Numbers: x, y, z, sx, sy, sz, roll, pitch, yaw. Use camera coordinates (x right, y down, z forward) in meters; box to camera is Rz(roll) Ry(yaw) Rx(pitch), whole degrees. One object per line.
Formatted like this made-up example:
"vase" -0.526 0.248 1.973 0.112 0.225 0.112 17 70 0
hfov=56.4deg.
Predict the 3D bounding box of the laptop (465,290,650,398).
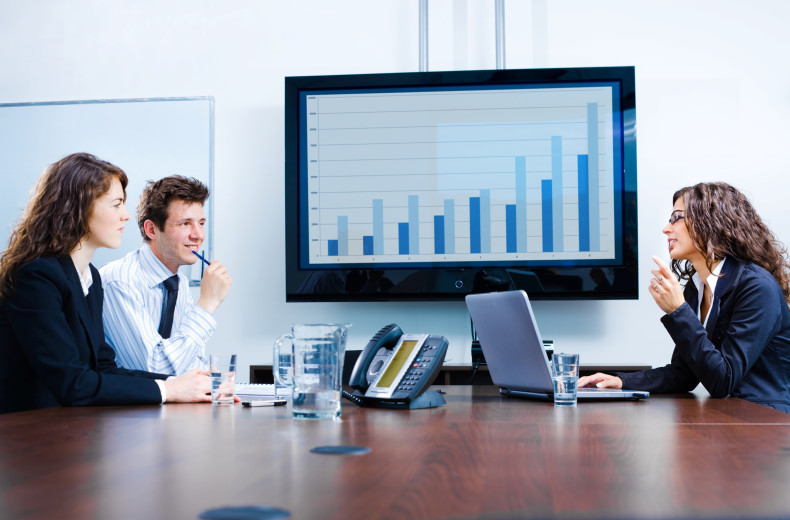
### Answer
"laptop" 0.574 0.298 2.720 0.485 0.351 0.478 0 -6 -17
